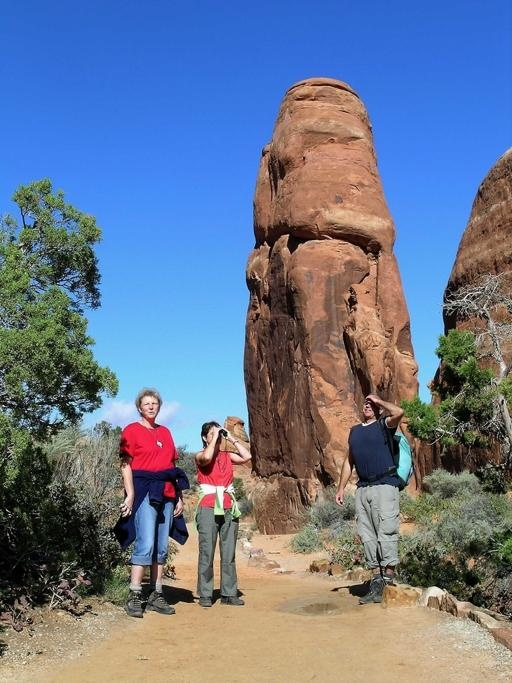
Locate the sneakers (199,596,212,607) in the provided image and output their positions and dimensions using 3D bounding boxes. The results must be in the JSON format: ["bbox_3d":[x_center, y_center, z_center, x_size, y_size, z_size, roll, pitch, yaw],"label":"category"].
[{"bbox_3d":[-0.456,2.299,5.044,0.106,0.076,0.162,0,-17,-14],"label":"sneakers"}]

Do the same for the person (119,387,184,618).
[{"bbox_3d":[-0.835,1.294,4.650,0.516,1.762,0.821,-7,-16,11],"label":"person"}]

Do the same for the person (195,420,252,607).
[{"bbox_3d":[-0.323,1.563,5.203,0.591,1.631,0.592,-11,-17,22],"label":"person"}]

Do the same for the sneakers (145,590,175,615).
[{"bbox_3d":[-0.790,2.107,4.609,0.110,0.170,0.311,9,-18,-34],"label":"sneakers"}]

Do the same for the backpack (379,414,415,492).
[{"bbox_3d":[1.314,1.022,5.324,0.245,0.675,0.440,-8,-17,14],"label":"backpack"}]

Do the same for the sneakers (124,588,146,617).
[{"bbox_3d":[-0.953,2.014,4.425,0.131,0.217,0.226,1,-17,-15],"label":"sneakers"}]

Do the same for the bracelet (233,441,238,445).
[{"bbox_3d":[-0.193,0.921,5.214,0.043,0.039,0.034,-4,-6,12],"label":"bracelet"}]

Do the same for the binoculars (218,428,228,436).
[{"bbox_3d":[-0.306,0.833,5.201,0.053,0.020,0.077,17,-36,20],"label":"binoculars"}]
